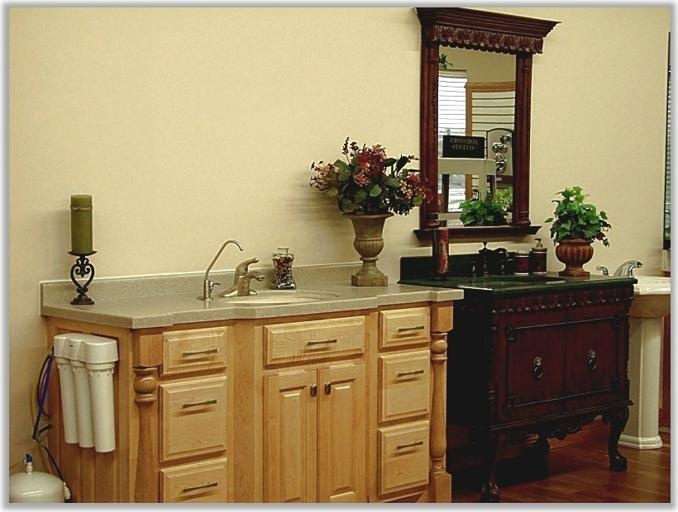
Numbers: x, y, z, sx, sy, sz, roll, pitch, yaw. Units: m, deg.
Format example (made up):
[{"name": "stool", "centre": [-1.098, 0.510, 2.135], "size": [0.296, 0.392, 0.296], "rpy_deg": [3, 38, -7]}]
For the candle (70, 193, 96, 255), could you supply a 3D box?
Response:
[{"name": "candle", "centre": [-1.123, -0.136, 2.701], "size": [0.086, 0.255, 0.033], "rpy_deg": [-2, 4, -8]}]

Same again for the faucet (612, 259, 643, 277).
[{"name": "faucet", "centre": [2.031, 0.081, 4.383], "size": [0.125, 0.148, 0.417], "rpy_deg": [0, -2, -8]}]

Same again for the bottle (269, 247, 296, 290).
[{"name": "bottle", "centre": [-0.295, 0.063, 3.321], "size": [0.128, 0.219, 0.201], "rpy_deg": [-2, 4, -4]}]

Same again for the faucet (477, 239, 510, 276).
[{"name": "faucet", "centre": [0.990, 0.029, 3.961], "size": [0.267, 0.259, 0.146], "rpy_deg": [-4, 6, -38]}]

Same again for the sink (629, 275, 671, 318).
[{"name": "sink", "centre": [2.069, 0.277, 4.128], "size": [0.301, 0.228, 0.339], "rpy_deg": [-2, 4, -21]}]

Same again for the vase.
[{"name": "vase", "centre": [0.165, -0.031, 3.374], "size": [0.357, 0.420, 0.327], "rpy_deg": [0, 4, 3]}]

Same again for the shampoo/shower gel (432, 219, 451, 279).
[{"name": "shampoo/shower gel", "centre": [0.596, -0.020, 3.630], "size": [0.082, 0.286, 0.111], "rpy_deg": [-1, 4, 1]}]

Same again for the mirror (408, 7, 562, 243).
[{"name": "mirror", "centre": [0.931, -0.839, 3.974], "size": [1.026, 1.425, 0.142], "rpy_deg": [-4, 4, -31]}]

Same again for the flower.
[{"name": "flower", "centre": [0.173, -0.497, 3.382], "size": [0.490, 0.317, 0.514], "rpy_deg": [-4, 14, -29]}]
